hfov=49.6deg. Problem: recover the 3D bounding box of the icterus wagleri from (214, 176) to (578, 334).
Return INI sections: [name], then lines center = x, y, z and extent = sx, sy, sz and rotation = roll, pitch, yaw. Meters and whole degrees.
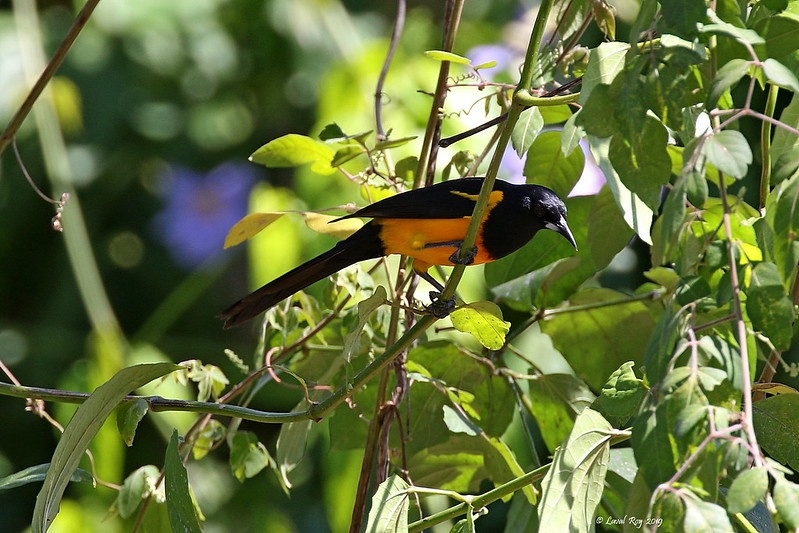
[icterus wagleri]
center = 0.011, -0.079, 3.617
extent = 1.487, 0.359, 0.507
rotation = -2, 64, 3
